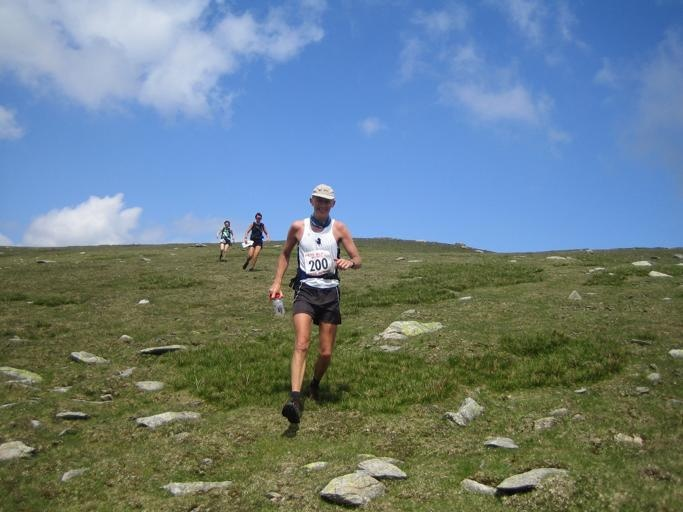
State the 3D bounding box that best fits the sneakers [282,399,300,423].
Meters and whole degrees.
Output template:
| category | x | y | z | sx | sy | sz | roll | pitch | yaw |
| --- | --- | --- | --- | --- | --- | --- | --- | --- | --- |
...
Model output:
| category | x | y | z | sx | sy | sz | roll | pitch | yaw |
| --- | --- | --- | --- | --- | --- | --- | --- | --- | --- |
| sneakers | -0.953 | 3.045 | 8.456 | 0.217 | 0.587 | 0.261 | -2 | 40 | 3 |
